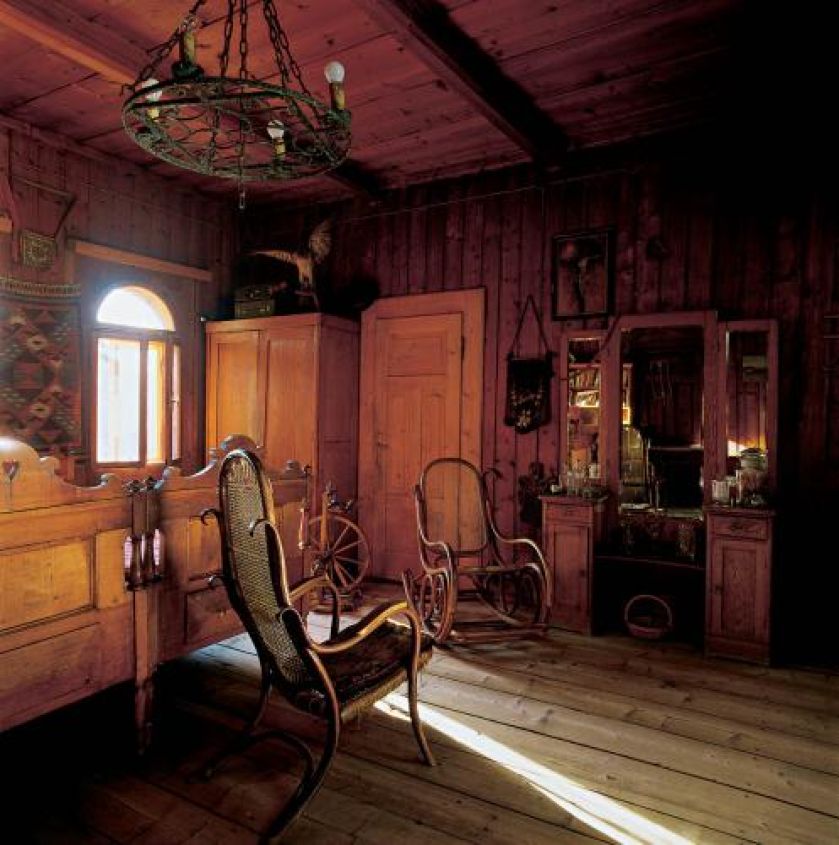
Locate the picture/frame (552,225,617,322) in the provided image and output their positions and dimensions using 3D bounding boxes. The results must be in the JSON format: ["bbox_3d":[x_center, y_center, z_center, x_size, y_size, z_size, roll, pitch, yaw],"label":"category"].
[{"bbox_3d":[1.070,-0.955,4.760,0.401,0.562,0.122,3,6,18],"label":"picture/frame"}]

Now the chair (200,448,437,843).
[{"bbox_3d":[-0.331,0.768,3.190,1.176,1.697,0.910,-1,0,-34],"label":"chair"}]

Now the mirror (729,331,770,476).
[{"bbox_3d":[1.867,-0.120,4.143,0.213,0.764,0.136,3,6,25],"label":"mirror"}]

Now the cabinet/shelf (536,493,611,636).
[{"bbox_3d":[0.904,0.851,4.368,0.346,0.794,0.214,2,6,11],"label":"cabinet/shelf"}]

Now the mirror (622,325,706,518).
[{"bbox_3d":[1.467,-0.028,4.405,0.500,1.086,0.235,3,6,23],"label":"mirror"}]

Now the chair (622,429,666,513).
[{"bbox_3d":[1.325,0.305,4.570,0.330,0.652,0.641,-1,-1,11],"label":"chair"}]

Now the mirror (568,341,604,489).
[{"bbox_3d":[1.067,-0.072,4.668,0.168,0.901,0.317,-1,6,-14],"label":"mirror"}]
